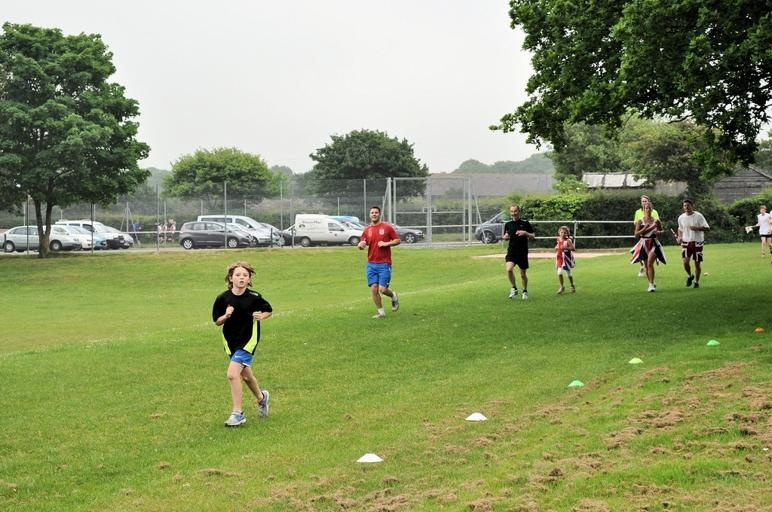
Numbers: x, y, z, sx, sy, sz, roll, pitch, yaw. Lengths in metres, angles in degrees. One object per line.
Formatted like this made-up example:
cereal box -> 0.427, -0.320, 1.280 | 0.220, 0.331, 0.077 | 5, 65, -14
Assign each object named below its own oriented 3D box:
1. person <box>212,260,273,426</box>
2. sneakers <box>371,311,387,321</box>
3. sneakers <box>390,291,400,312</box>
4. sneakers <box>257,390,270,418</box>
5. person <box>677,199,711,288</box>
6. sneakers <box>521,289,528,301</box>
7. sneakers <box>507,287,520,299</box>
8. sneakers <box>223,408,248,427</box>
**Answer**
person -> -2.280, 1.343, 12.566 | 0.899, 2.480, 0.750 | -9, 14, -28
sneakers -> -0.185, 1.350, 18.321 | 0.390, 0.216, 0.128 | 1, -2, 23
sneakers -> 0.153, 1.073, 18.862 | 0.178, 0.455, 0.221 | 6, 20, 26
sneakers -> -2.003, 2.379, 12.825 | 0.147, 0.406, 0.188 | -2, 3, 37
person -> 8.069, -0.405, 20.966 | 0.720, 2.198, 1.436 | 2, 13, 20
sneakers -> 3.506, 0.975, 20.171 | 0.225, 0.258, 0.638 | -1, -6, 6
sneakers -> 3.235, 0.921, 20.361 | 0.152, 0.191, 0.431 | -3, 7, 32
sneakers -> -2.372, 2.528, 12.450 | 0.387, 0.208, 0.260 | -7, 13, -25
